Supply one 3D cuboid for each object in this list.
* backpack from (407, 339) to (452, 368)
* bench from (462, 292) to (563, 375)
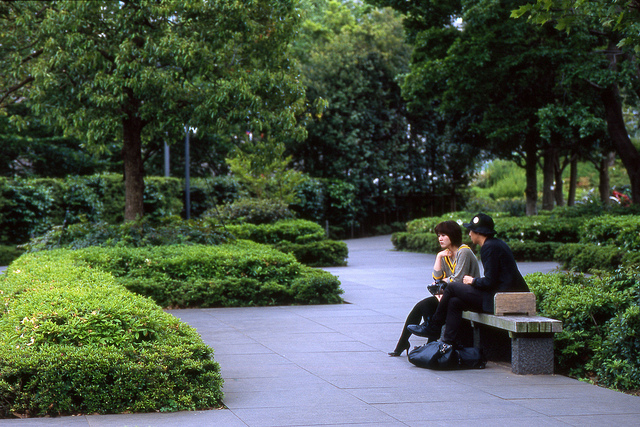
[{"bbox_3d":[1.840,2.331,12.281,0.543,0.257,0.432,-4,0,-17],"label":"backpack"},{"bbox_3d":[3.357,1.962,12.598,0.742,1.321,2.103,2,-3,-6],"label":"bench"}]
